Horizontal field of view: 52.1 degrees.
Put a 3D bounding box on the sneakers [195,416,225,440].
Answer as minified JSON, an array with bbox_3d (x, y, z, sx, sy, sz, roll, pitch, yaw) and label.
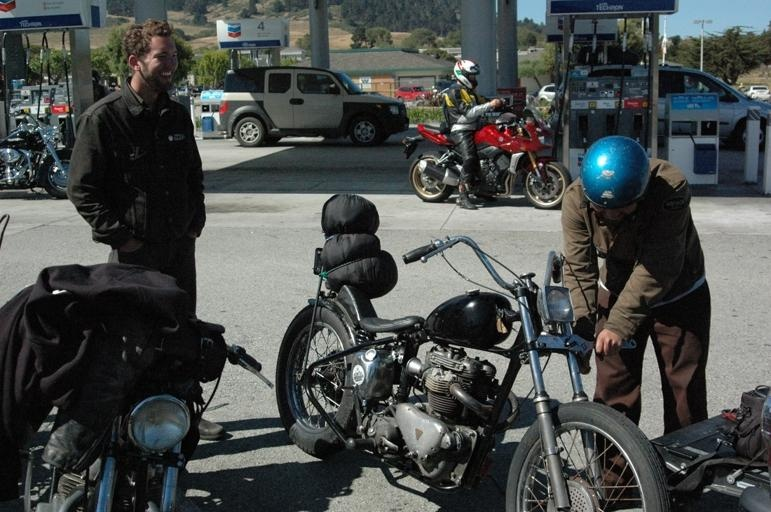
[{"bbox_3d":[-1.280,1.268,5.740,0.190,0.123,0.324,1,-1,-5],"label":"sneakers"}]

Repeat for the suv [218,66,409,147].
[{"bbox_3d":[-2.352,-4.271,24.129,4.473,2.091,2.620,0,14,5],"label":"suv"}]

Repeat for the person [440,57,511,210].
[{"bbox_3d":[1.335,-1.900,12.636,0.615,2.307,0.987,-14,17,-39],"label":"person"}]

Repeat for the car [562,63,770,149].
[{"bbox_3d":[7.314,-3.225,20.219,4.835,2.383,2.940,-2,13,2],"label":"car"}]

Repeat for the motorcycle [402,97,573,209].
[{"bbox_3d":[1.711,-1.682,13.149,2.692,1.719,1.505,3,19,23],"label":"motorcycle"}]

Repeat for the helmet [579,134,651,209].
[{"bbox_3d":[1.300,-0.464,4.488,0.328,0.363,0.451,5,60,23],"label":"helmet"}]

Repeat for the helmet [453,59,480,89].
[{"bbox_3d":[1.245,-2.908,12.709,0.474,0.493,0.411,12,29,13],"label":"helmet"}]
